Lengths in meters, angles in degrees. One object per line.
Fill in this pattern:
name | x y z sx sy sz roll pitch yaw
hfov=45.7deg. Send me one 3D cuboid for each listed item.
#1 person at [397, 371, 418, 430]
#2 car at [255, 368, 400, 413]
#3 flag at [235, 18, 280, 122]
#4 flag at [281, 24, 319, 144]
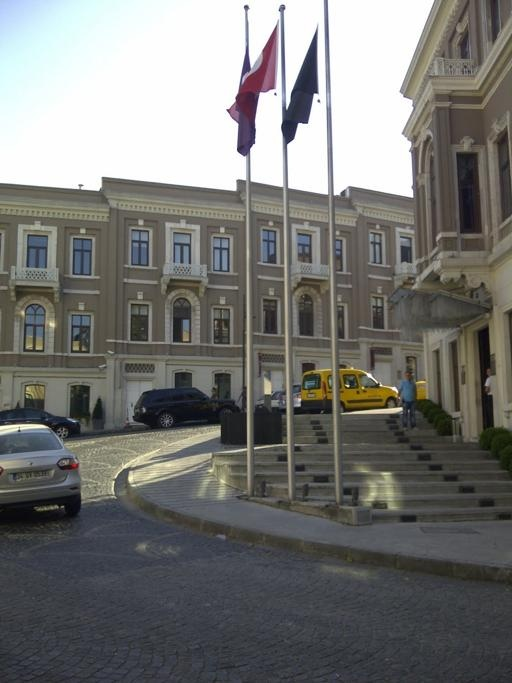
person | 4.535 1.662 18.090 0.429 1.678 1.942 -3 -6 13
car | 3.807 2.181 27.513 4.868 1.957 3.917 -3 -6 18
flag | 0.115 -5.129 11.442 0.435 1.927 0.343 15 -12 9
flag | 0.770 -4.422 10.630 0.744 1.743 0.518 -3 -7 18
